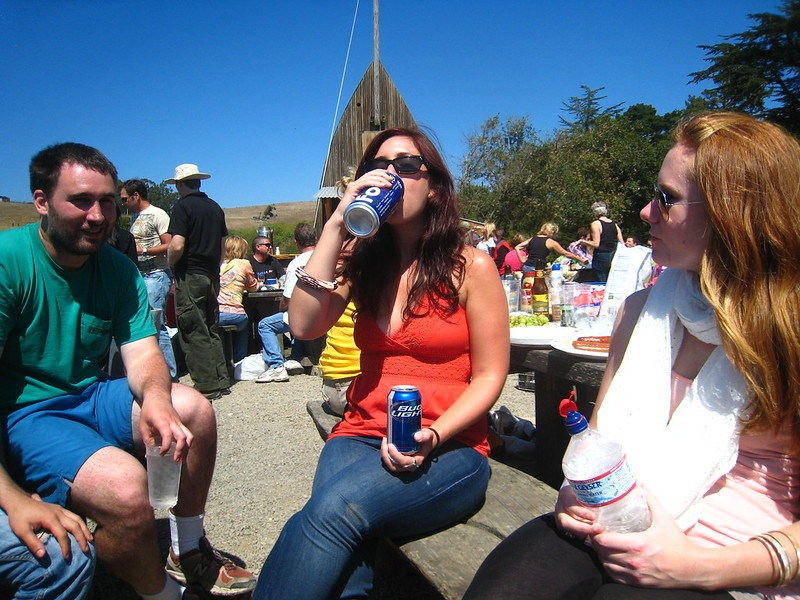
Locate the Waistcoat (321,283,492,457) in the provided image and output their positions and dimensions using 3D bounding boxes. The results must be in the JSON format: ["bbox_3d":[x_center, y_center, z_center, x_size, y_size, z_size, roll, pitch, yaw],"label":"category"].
[{"bbox_3d":[0.020,0.236,2.296,0.570,0.747,0.426,-11,-19,20],"label":"Waistcoat"}]

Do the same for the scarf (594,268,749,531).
[{"bbox_3d":[0.892,0.317,1.634,0.139,0.774,0.437,12,7,-35],"label":"scarf"}]

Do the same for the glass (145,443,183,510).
[{"bbox_3d":[-0.939,0.716,2.076,0.140,0.255,0.148,1,-24,-35],"label":"glass"}]

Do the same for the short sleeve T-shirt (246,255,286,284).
[{"bbox_3d":[-2.122,-0.469,8.062,0.403,0.580,0.302,1,-26,-45],"label":"short sleeve T-shirt"}]

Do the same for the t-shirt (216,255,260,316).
[{"bbox_3d":[-2.186,-0.197,6.756,0.532,0.752,0.406,9,-1,8],"label":"t-shirt"}]

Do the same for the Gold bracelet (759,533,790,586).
[{"bbox_3d":[1.008,0.695,1.376,0.042,0.119,0.103,-18,15,23],"label":"Gold bracelet"}]

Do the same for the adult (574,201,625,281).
[{"bbox_3d":[4.296,-0.857,10.791,0.668,2.382,0.634,-5,11,-8],"label":"adult"}]

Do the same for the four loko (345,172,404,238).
[{"bbox_3d":[-0.104,-0.437,2.008,0.153,0.174,0.412,9,-35,-15],"label":"four loko"}]

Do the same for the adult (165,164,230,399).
[{"bbox_3d":[-2.388,-0.257,5.893,0.768,2.654,0.828,-2,1,7],"label":"adult"}]

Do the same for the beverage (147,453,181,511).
[{"bbox_3d":[-0.933,0.709,2.025,0.119,0.236,0.107,-2,9,-22],"label":"beverage"}]

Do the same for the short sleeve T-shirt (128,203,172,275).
[{"bbox_3d":[-3.097,-0.740,6.315,0.683,0.877,0.417,6,14,27],"label":"short sleeve T-shirt"}]

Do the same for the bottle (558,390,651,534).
[{"bbox_3d":[0.564,0.475,1.483,0.160,0.443,0.171,-24,15,7],"label":"bottle"}]

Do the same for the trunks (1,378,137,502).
[{"bbox_3d":[-1.413,0.458,2.153,0.310,0.206,0.604,22,15,-2],"label":"trunks"}]
